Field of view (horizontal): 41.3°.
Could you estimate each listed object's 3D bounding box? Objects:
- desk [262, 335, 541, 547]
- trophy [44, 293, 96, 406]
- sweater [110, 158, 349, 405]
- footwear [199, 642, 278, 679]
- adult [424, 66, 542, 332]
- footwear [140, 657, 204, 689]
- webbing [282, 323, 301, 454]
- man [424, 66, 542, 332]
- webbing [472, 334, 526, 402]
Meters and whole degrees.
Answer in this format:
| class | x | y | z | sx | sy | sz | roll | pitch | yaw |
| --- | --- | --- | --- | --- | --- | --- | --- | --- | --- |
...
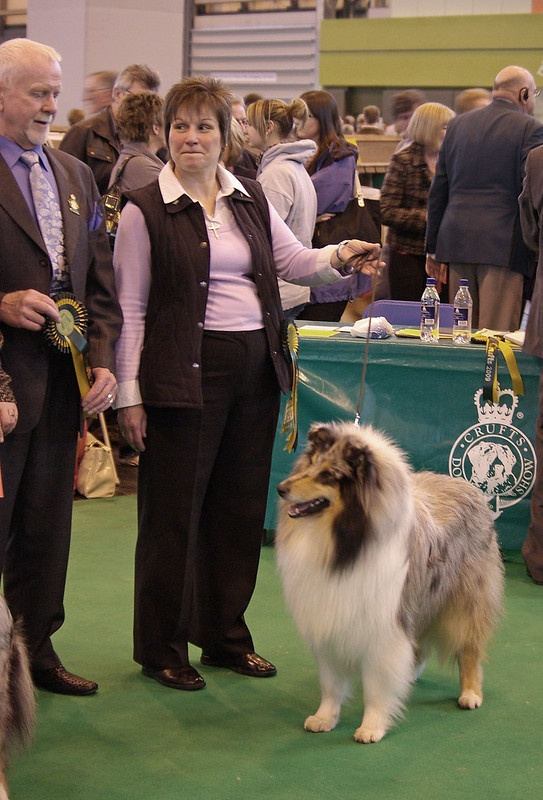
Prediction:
| class | x | y | z | sx | sy | sz | roll | pitch | yaw |
| --- | --- | --- | --- | --- | --- | --- | --- | --- | --- |
| desk | 0.809 | 0.094 | 4.008 | 1.479 | 0.940 | 0.974 | 2 | 8 | 7 |
| trophy | -0.504 | -0.147 | 1.865 | 0.047 | 0.214 | 0.123 | 0 | 38 | 28 |
| sweater | -0.119 | -0.347 | 2.243 | 0.759 | 0.693 | 0.467 | -4 | 12 | -12 |
| footwear | -0.115 | 0.900 | 2.540 | 0.258 | 0.104 | 0.095 | -1 | 1 | 25 |
| adult | 1.396 | -1.291 | 4.704 | 0.364 | 1.672 | 0.807 | 0 | 3 | -41 |
| footwear | -0.319 | 0.872 | 2.361 | 0.205 | 0.087 | 0.082 | 3 | 6 | 24 |
| webbing | 0.067 | -0.049 | 2.309 | 0.039 | 0.417 | 0.099 | 5 | -8 | -34 |
| man | 1.393 | -1.291 | 4.705 | 0.359 | 1.672 | 0.811 | 0 | 3 | -42 |
| webbing | 1.151 | -0.148 | 3.524 | 0.307 | 0.357 | 0.238 | -2 | -12 | 24 |
